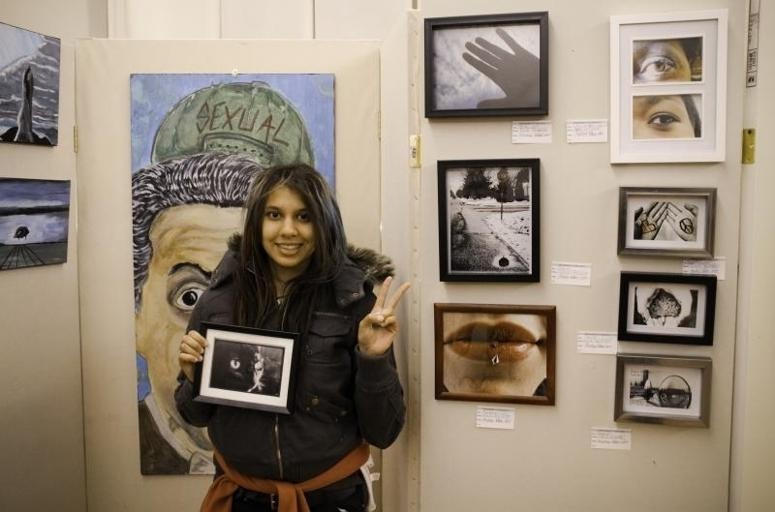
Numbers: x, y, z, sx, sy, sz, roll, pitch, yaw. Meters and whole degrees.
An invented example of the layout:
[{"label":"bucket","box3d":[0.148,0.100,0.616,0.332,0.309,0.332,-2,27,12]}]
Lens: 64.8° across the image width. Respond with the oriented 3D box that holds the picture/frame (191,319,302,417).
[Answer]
[{"label":"picture/frame","box3d":[-0.577,0.467,2.518,0.362,0.295,0.029,6,-4,8]}]
